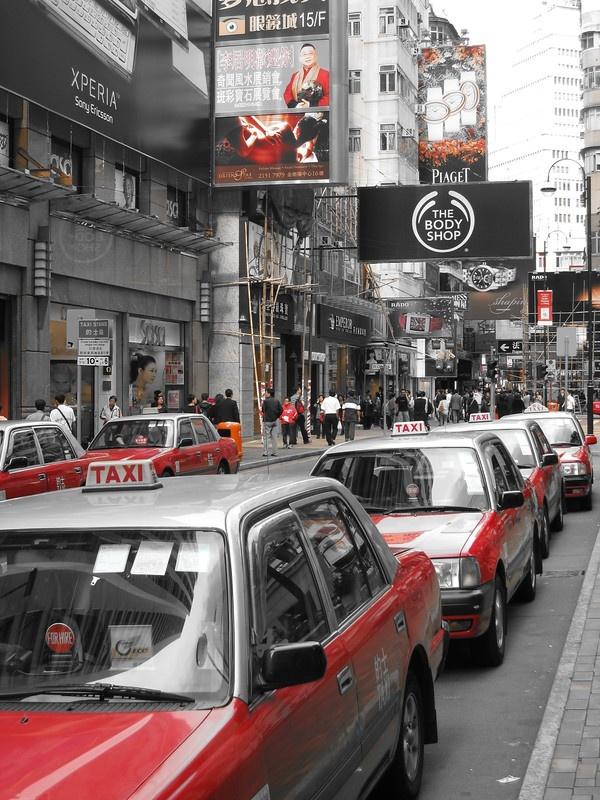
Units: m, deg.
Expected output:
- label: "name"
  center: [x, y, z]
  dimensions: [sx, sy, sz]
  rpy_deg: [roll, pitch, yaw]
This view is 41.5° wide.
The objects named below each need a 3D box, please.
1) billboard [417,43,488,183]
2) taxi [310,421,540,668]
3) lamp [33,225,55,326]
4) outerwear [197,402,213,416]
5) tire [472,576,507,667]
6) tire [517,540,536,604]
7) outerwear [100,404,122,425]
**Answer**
- label: "billboard"
  center: [12.959, -24.840, 67.615]
  dimensions: [6.023, 13.172, 0.627]
  rpy_deg: [-1, -11, 18]
- label: "taxi"
  center: [1.213, 1.048, 6.482]
  dimensions: [1.163, 1.110, 2.242]
  rpy_deg: [-2, -6, 15]
- label: "lamp"
  center: [-6.718, -3.181, 20.506]
  dimensions: [0.508, 2.681, 0.426]
  rpy_deg: [3, 3, -39]
- label: "outerwear"
  center: [-2.817, 0.264, 23.555]
  dimensions: [0.433, 0.569, 0.361]
  rpy_deg: [6, -4, 0]
- label: "tire"
  center: [1.466, 1.685, 6.070]
  dimensions: [0.157, 0.592, 0.544]
  rpy_deg: [-4, -21, 20]
- label: "tire"
  center: [2.190, 1.686, 7.682]
  dimensions: [0.186, 0.707, 0.641]
  rpy_deg: [-2, 9, 14]
- label: "outerwear"
  center: [-4.717, 0.377, 19.649]
  dimensions: [0.431, 0.525, 0.271]
  rpy_deg: [9, -5, 23]
